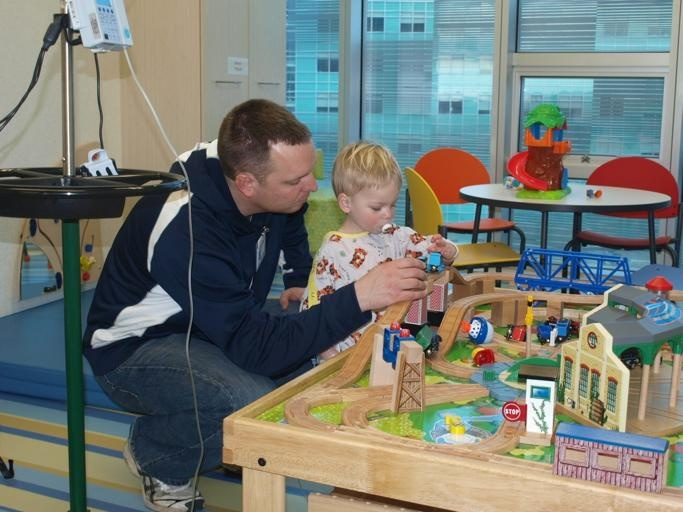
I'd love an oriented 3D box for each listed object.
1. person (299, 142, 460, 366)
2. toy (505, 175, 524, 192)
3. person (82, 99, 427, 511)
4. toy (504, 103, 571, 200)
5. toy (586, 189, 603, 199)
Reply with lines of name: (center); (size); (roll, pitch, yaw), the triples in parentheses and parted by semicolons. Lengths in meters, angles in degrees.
person: (0.107, 0.052, 2.184); (0.493, 0.856, 0.363); (0, 18, 4)
toy: (0.985, -0.417, 3.770); (0.089, 0.066, 0.108); (1, 11, -39)
person: (-0.426, -0.122, 2.423); (1.189, 1.551, 0.976); (11, 29, 13)
toy: (1.061, -0.560, 3.544); (0.323, 0.493, 0.391); (1, 7, 15)
toy: (1.315, -0.325, 3.442); (0.058, 0.041, 0.088); (-4, 7, -42)
